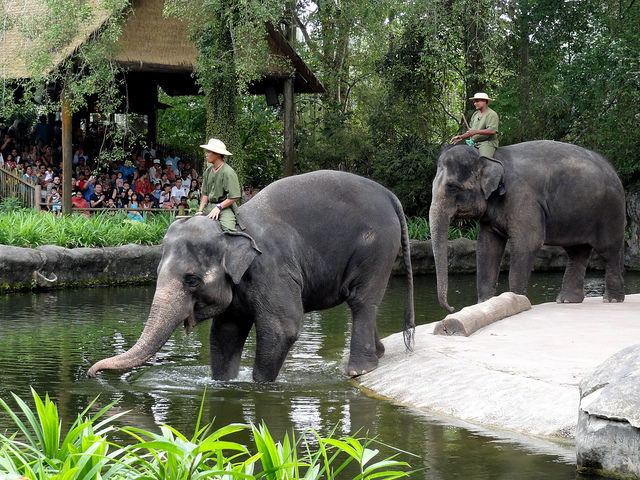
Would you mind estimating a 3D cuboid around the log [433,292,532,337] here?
[{"bbox_3d":[2.032,0.907,11.833,0.461,0.286,1.582,-3,6,43],"label":"log"}]

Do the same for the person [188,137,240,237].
[{"bbox_3d":[-1.119,-0.376,10.466,0.497,1.422,0.483,1,6,29],"label":"person"}]
